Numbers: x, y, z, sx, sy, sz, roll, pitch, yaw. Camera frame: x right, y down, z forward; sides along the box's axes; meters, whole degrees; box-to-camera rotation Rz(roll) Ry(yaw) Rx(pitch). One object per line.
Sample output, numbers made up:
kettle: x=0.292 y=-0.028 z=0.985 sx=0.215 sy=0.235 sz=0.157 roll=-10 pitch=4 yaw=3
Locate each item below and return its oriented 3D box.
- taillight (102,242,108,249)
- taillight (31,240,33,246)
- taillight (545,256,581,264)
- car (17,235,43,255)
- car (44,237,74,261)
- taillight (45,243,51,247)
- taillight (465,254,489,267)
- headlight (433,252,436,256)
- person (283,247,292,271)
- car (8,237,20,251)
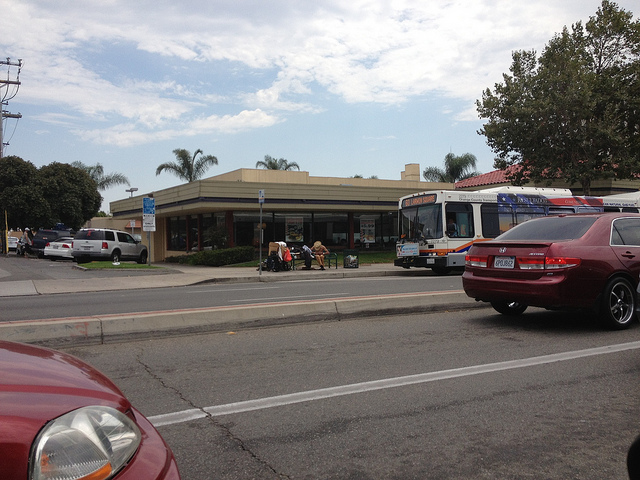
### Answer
taillight: x=-11.424 y=0.325 z=26.335 sx=0.241 sy=0.506 sz=0.281 roll=4 pitch=3 yaw=32
taillight: x=-21.391 y=0.259 z=36.888 sx=0.126 sy=0.444 sz=0.319 roll=5 pitch=-2 yaw=-24
taillight: x=3.765 y=0.315 z=7.704 sx=0.500 sy=0.118 sz=0.118 roll=-1 pitch=2 yaw=25
car: x=-22.643 y=0.465 z=38.774 sx=2.992 sy=1.446 sz=1.558 roll=-2 pitch=-1 yaw=45
car: x=-16.259 y=0.529 z=31.001 sx=1.326 sy=1.197 sz=2.597 roll=-3 pitch=3 yaw=-42
taillight: x=-18.122 y=0.336 z=33.048 sx=0.249 sy=0.257 sz=0.191 roll=5 pitch=-6 yaw=-8
taillight: x=2.780 y=0.370 z=8.866 sx=0.157 sy=0.213 sz=0.568 roll=-2 pitch=2 yaw=-12
headlight: x=4.539 y=0.566 z=19.712 sx=0.117 sy=0.122 sz=0.086 roll=0 pitch=7 yaw=-8
person: x=-1.504 y=0.890 z=22.976 sx=0.285 sy=1.071 sz=0.541 roll=0 pitch=2 yaw=21
car: x=-31.813 y=0.504 z=51.521 sx=1.018 sy=0.917 sz=2.369 roll=-1 pitch=9 yaw=-28
